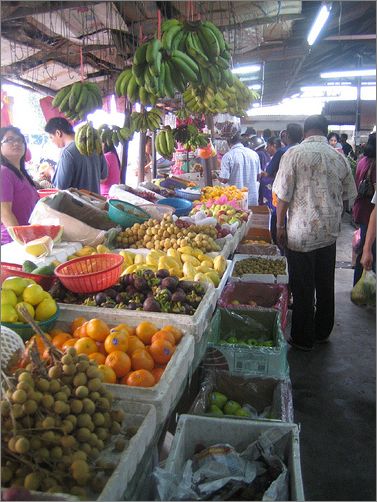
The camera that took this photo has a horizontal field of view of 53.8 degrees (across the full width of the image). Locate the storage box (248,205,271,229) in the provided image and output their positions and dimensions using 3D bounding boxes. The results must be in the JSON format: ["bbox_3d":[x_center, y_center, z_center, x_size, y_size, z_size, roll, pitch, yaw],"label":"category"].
[{"bbox_3d":[1.045,-0.506,5.419,0.438,0.266,0.432,2,15,9],"label":"storage box"}]

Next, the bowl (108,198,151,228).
[{"bbox_3d":[-0.442,-0.298,2.808,0.289,0.231,0.331,5,16,18],"label":"bowl"}]

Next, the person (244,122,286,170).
[{"bbox_3d":[1.613,-2.380,8.174,0.961,1.365,0.955,6,21,26],"label":"person"}]

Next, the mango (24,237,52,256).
[{"bbox_3d":[-0.842,-0.026,2.089,0.109,0.100,0.123,1,13,12],"label":"mango"}]

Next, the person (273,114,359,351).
[{"bbox_3d":[1.084,-0.157,3.354,0.787,2.087,0.629,-10,15,-25],"label":"person"}]

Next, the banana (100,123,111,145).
[{"bbox_3d":[-0.673,-0.968,3.013,0.064,0.096,0.171,-7,56,-15],"label":"banana"}]

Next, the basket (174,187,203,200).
[{"bbox_3d":[-0.016,-0.681,4.350,0.217,0.081,0.214,3,13,8],"label":"basket"}]

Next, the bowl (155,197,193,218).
[{"bbox_3d":[-0.115,-0.450,3.608,0.242,0.107,0.250,3,26,-1],"label":"bowl"}]

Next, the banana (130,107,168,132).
[{"bbox_3d":[-0.373,-1.113,3.201,0.199,0.206,0.317,0,7,44],"label":"banana"}]

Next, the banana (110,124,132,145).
[{"bbox_3d":[-0.557,-0.962,3.063,0.110,0.052,0.167,-51,38,-12],"label":"banana"}]

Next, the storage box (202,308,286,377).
[{"bbox_3d":[0.327,0.507,2.087,0.470,0.304,0.461,1,13,8],"label":"storage box"}]

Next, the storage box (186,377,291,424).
[{"bbox_3d":[0.233,0.612,1.705,0.400,0.186,0.281,2,7,16],"label":"storage box"}]

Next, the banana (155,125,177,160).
[{"bbox_3d":[-0.201,-0.947,3.146,0.155,0.274,0.150,-16,30,-16],"label":"banana"}]

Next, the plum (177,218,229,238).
[{"bbox_3d":[0.111,-0.167,2.779,0.202,0.096,0.237,16,7,0],"label":"plum"}]

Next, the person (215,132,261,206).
[{"bbox_3d":[0.785,-1.347,6.019,0.638,1.146,0.653,0,21,5],"label":"person"}]

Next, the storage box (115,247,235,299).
[{"bbox_3d":[-0.014,0.018,2.370,0.790,0.279,0.685,1,13,13],"label":"storage box"}]

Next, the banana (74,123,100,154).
[{"bbox_3d":[-0.727,-0.818,2.694,0.169,0.233,0.251,-4,13,-10],"label":"banana"}]
